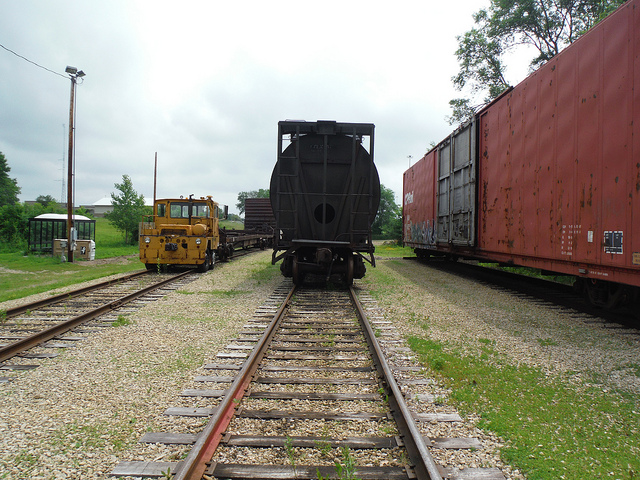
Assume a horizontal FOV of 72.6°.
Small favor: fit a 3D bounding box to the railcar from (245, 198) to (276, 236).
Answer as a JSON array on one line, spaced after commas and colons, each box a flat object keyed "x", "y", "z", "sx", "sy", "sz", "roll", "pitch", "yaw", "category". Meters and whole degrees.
[{"x": -4.001, "y": -1.429, "z": 28.546, "sx": 1.499, "sy": 1.985, "sz": 2.810, "roll": -1, "pitch": -1, "yaw": 0, "category": "railcar"}]

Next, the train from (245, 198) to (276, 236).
[{"x": -3.992, "y": -1.411, "z": 28.491, "sx": 1.461, "sy": 1.772, "sz": 2.750, "roll": -1, "pitch": -3, "yaw": 1, "category": "train"}]

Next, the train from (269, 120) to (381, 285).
[{"x": 0.082, "y": -0.885, "z": 11.611, "sx": 2.685, "sy": 4.387, "sz": 1.122, "roll": 1, "pitch": 13, "yaw": 1, "category": "train"}]

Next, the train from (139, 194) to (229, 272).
[{"x": -5.216, "y": -0.397, "z": 17.092, "sx": 2.571, "sy": 2.645, "sz": 4.638, "roll": 1, "pitch": 1, "yaw": -1, "category": "train"}]
